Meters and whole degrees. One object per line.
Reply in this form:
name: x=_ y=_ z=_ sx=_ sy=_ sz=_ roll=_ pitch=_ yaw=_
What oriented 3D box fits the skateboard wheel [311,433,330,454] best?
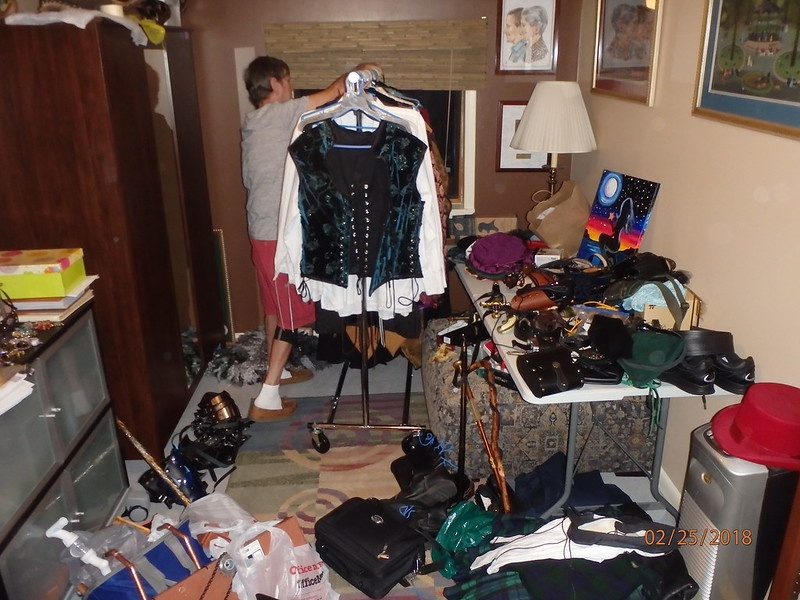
skateboard wheel: x=-0.467 y=0.843 z=3.463 sx=0.091 sy=0.127 sz=0.133 roll=-3 pitch=3 yaw=-31

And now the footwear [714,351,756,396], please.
footwear: x=1.392 y=0.301 z=2.488 sx=0.098 sy=0.106 sz=0.254 roll=-5 pitch=19 yaw=9

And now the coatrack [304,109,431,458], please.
coatrack: x=-0.209 y=-0.161 z=3.320 sx=1.086 sy=1.747 sz=0.320 roll=-2 pitch=19 yaw=-1

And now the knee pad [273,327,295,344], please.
knee pad: x=-0.712 y=0.221 z=3.613 sx=0.109 sy=0.091 sz=0.105 roll=16 pitch=6 yaw=-9

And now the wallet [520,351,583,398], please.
wallet: x=0.621 y=0.292 z=2.493 sx=0.202 sy=0.078 sz=0.198 roll=-14 pitch=51 yaw=-8

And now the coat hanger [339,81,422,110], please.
coat hanger: x=-0.105 y=-1.021 z=2.858 sx=0.269 sy=0.112 sz=0.341 roll=1 pitch=33 yaw=-2
